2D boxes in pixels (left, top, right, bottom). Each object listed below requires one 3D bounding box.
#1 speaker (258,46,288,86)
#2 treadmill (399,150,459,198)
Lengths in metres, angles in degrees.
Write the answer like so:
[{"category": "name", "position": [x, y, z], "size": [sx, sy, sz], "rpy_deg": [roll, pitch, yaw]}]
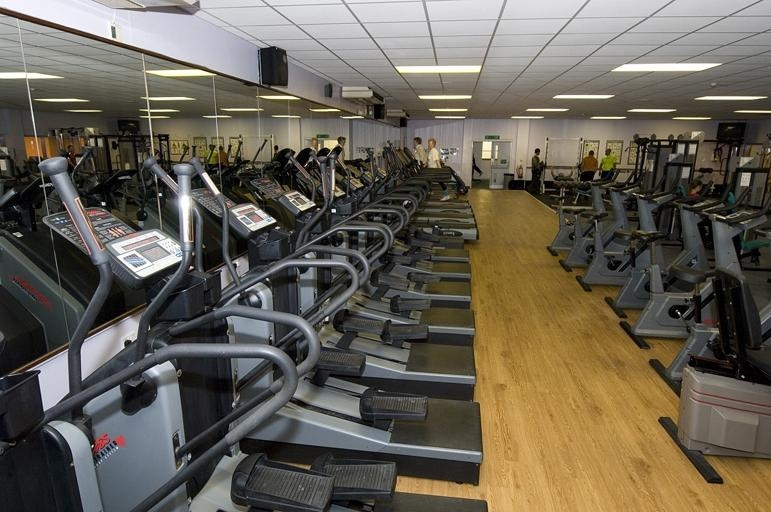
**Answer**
[{"category": "speaker", "position": [-1.323, -2.199, 5.497], "size": [0.252, 0.389, 0.447], "rpy_deg": [3, 9, 19]}, {"category": "treadmill", "position": [1.458, -2.620, 14.270], "size": [1.436, 1.662, 0.734], "rpy_deg": [3, 12, 23]}]
